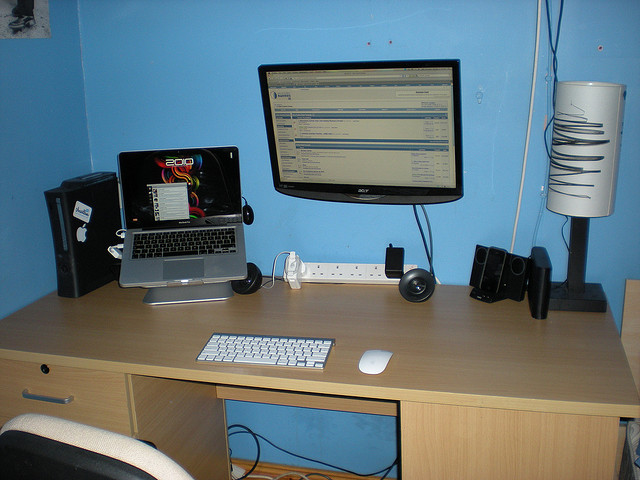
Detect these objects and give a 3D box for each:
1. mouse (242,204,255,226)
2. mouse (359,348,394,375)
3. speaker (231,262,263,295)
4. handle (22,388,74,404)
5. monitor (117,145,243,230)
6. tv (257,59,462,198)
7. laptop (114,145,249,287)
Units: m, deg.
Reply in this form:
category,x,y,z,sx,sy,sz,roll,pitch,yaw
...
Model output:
category,x,y,z,sx,sy,sz,roll,pitch,yaw
mouse,-0.287,-0.095,2.196,0.051,0.072,0.023,-1,4,-9
mouse,0.172,0.366,1.685,0.081,0.038,0.137,2,12,23
speaker,-0.276,0.146,2.098,0.110,0.114,0.040,10,-8,28
handle,-0.886,0.515,1.796,0.139,0.017,0.029,7,27,8
monitor,-0.538,-0.198,2.158,0.318,0.225,0.013,-3,15,1
tv,0.166,-0.413,1.983,0.553,0.407,0.040,0,26,16
laptop,-0.514,-0.092,2.060,0.462,0.334,0.391,-4,40,-8
